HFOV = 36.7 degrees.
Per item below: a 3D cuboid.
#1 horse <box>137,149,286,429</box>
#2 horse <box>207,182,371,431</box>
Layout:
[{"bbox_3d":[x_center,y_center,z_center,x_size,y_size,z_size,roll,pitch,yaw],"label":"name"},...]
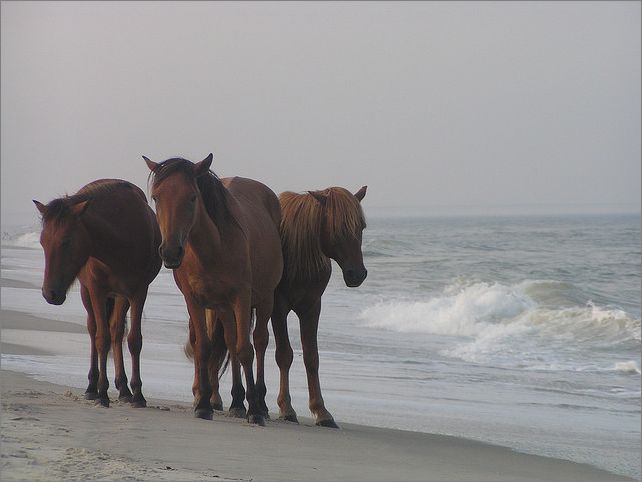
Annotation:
[{"bbox_3d":[-1.331,0.705,12.890,0.999,3.674,2.161,-1,4,28],"label":"horse"},{"bbox_3d":[-0.867,1.085,14.777,1.077,3.419,4.110,9,-11,-39],"label":"horse"}]
